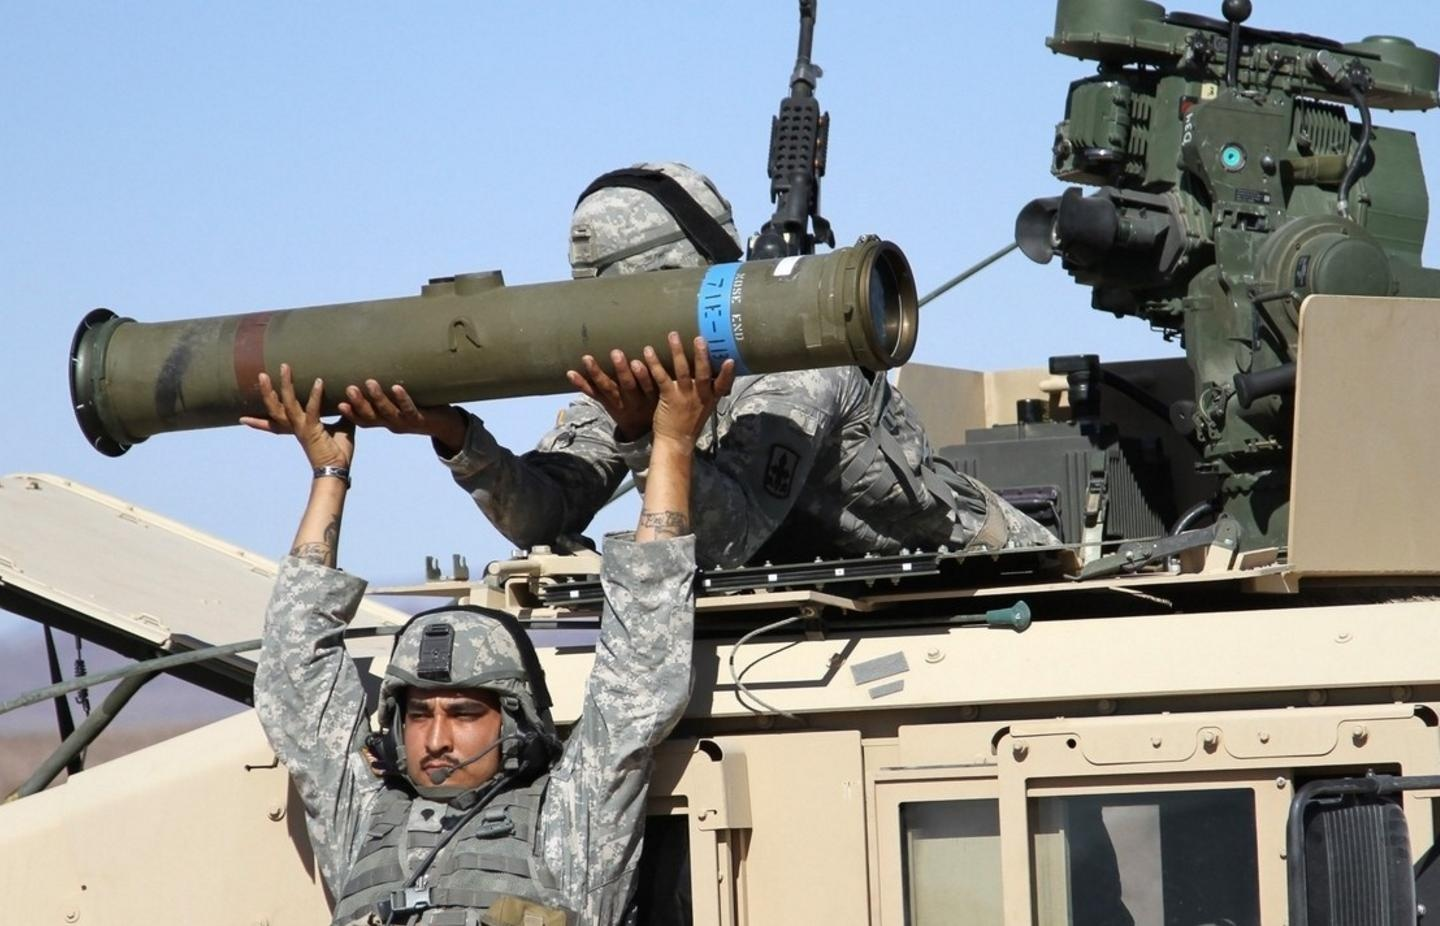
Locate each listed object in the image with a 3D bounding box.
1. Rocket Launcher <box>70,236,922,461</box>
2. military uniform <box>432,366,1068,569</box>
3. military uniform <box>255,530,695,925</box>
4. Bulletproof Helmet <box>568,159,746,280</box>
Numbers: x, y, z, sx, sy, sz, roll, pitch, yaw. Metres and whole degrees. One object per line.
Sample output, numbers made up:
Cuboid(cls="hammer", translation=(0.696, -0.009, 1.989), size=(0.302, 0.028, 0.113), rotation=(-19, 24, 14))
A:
Cuboid(cls="Rocket Launcher", translation=(-0.793, -0.418, 12.991), size=(2.542, 0.639, 0.652), rotation=(-7, 3, 13))
Cuboid(cls="military uniform", translation=(0.152, 0.103, 14.302), size=(1.200, 0.576, 2.004), rotation=(-19, -11, 43))
Cuboid(cls="military uniform", translation=(-0.989, 1.219, 13.127), size=(1.576, 1.815, 0.472), rotation=(-4, -17, 9))
Cuboid(cls="Bulletproof Helmet", translation=(-0.257, -1.201, 14.428), size=(0.735, 0.634, 0.675), rotation=(-2, -45, 4))
